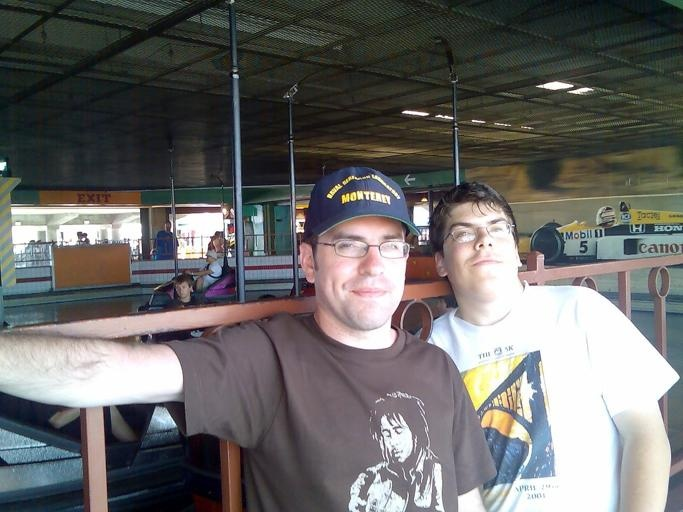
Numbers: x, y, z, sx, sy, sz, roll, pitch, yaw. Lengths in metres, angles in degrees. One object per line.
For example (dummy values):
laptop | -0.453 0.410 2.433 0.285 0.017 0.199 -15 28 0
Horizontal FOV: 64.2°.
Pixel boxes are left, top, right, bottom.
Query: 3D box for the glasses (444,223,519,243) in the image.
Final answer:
glasses | 0.517 -0.087 2.053 0.117 0.034 0.117 -5 -17 -8

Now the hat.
hat | 0.042 -0.183 1.758 0.263 0.163 0.282 -1 3 -17
